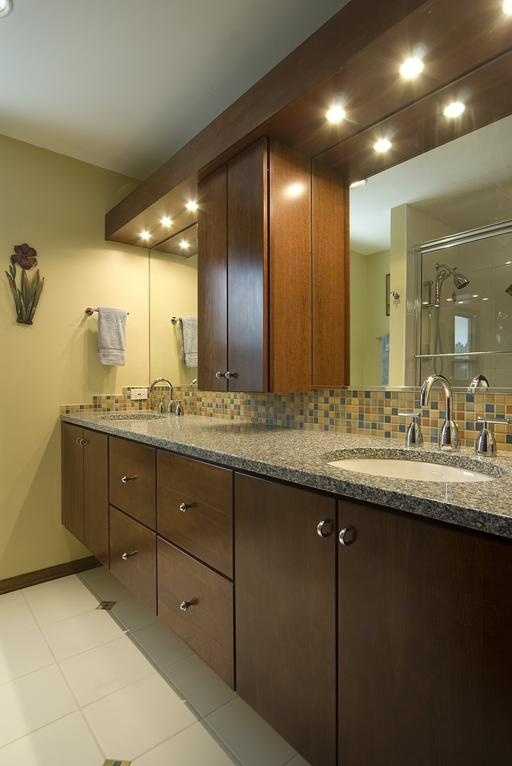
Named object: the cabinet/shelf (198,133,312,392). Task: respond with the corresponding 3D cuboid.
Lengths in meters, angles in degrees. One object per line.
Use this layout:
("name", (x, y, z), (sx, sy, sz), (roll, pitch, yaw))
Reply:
("cabinet/shelf", (-0.048, -0.392, 1.899), (0.497, 0.836, 0.231), (1, 2, 40))

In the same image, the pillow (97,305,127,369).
("pillow", (-0.778, -0.257, 2.848), (0.052, 0.304, 0.172), (1, 2, 38))

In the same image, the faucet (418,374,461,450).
("faucet", (0.493, 0.075, 1.410), (0.098, 0.194, 0.194), (0, 2, 19))

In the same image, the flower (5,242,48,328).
("flower", (-1.115, -0.478, 2.532), (0.046, 0.394, 0.191), (0, 2, 31))
